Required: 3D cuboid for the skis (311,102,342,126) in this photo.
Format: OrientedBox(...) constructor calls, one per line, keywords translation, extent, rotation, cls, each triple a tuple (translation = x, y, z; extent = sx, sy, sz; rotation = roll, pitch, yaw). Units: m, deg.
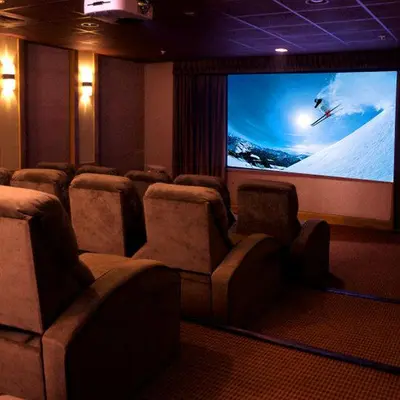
OrientedBox(translation=(2.393, -1.611, 7.030), extent=(0.123, 0.178, 0.708), rotation=(8, -42, -35), cls="skis")
